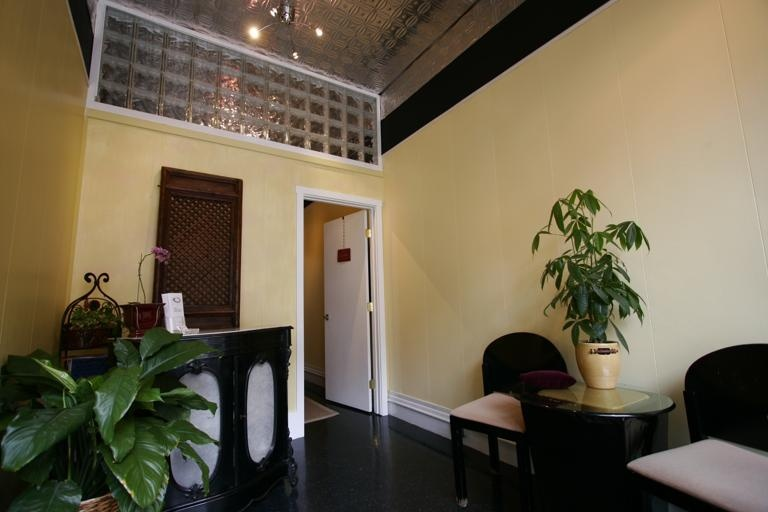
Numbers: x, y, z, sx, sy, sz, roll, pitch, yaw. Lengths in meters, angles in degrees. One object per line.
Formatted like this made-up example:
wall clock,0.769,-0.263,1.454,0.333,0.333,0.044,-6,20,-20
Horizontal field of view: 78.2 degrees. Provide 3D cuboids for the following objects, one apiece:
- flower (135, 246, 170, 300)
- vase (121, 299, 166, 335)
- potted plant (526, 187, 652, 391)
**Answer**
flower,-1.858,0.162,3.805,0.219,0.392,0.606,-5,4,-32
vase,-1.702,0.466,3.328,0.223,0.217,0.242,-10,-11,39
potted plant,1.427,0.182,3.397,0.618,1.349,0.797,-4,3,-28
